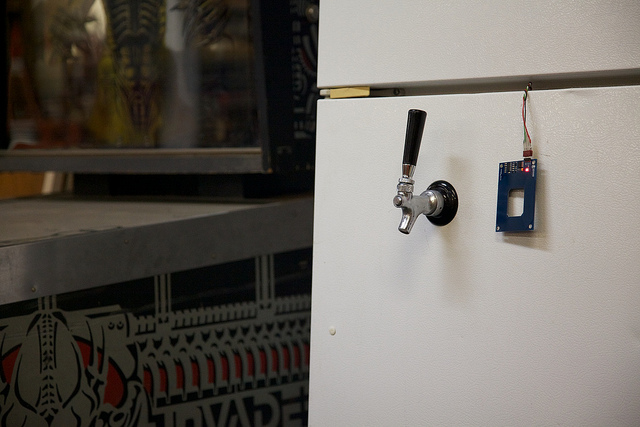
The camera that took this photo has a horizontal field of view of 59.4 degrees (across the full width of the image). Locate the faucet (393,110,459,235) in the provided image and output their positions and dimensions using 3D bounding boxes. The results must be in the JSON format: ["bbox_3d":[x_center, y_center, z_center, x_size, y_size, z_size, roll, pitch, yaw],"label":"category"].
[{"bbox_3d":[0.194,-0.077,1.011,0.116,0.218,0.073,1,2,11],"label":"faucet"}]
